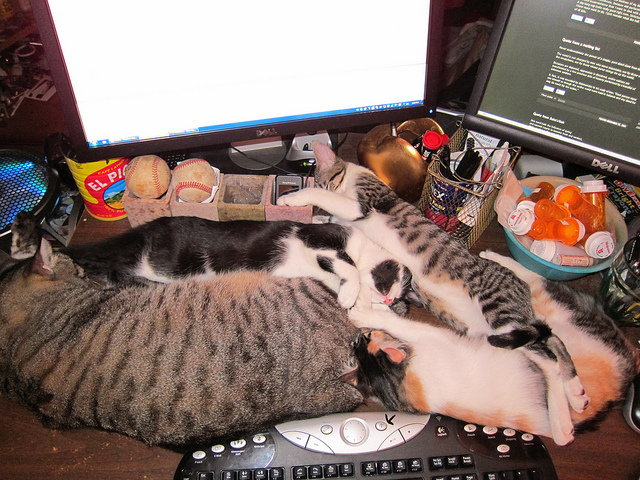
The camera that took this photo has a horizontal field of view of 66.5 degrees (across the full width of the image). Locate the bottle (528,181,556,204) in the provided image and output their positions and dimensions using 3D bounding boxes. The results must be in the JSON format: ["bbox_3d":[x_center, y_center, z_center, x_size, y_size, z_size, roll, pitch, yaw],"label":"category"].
[{"bbox_3d":[0.580,-0.124,1.277,0.046,0.047,0.027,-22,76,-53],"label":"bottle"}]

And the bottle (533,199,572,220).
[{"bbox_3d":[0.577,-0.075,1.223,0.093,0.023,0.049,4,55,4],"label":"bottle"}]

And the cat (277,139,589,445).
[{"bbox_3d":[0.281,0.149,1.191,0.746,0.352,0.197,38,101,8],"label":"cat"}]

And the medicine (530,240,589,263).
[{"bbox_3d":[0.575,0.022,1.198,0.138,0.049,0.046,8,22,-13],"label":"medicine"}]

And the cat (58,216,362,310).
[{"bbox_3d":[-0.260,0.066,1.216,0.480,0.100,0.217,0,15,1],"label":"cat"}]

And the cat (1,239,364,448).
[{"bbox_3d":[-0.326,0.233,1.121,0.847,0.181,0.423,1,55,2],"label":"cat"}]

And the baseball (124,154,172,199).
[{"bbox_3d":[-0.429,-0.158,1.259,0.080,0.108,0.107,29,103,27],"label":"baseball"}]

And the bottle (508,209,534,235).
[{"bbox_3d":[0.495,-0.047,1.210,0.058,0.055,0.057,15,90,30],"label":"bottle"}]

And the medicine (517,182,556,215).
[{"bbox_3d":[0.563,-0.116,1.268,0.070,0.029,0.119,17,66,39],"label":"medicine"}]

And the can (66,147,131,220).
[{"bbox_3d":[-0.581,-0.177,1.341,0.178,0.153,0.142,-20,39,-29],"label":"can"}]
